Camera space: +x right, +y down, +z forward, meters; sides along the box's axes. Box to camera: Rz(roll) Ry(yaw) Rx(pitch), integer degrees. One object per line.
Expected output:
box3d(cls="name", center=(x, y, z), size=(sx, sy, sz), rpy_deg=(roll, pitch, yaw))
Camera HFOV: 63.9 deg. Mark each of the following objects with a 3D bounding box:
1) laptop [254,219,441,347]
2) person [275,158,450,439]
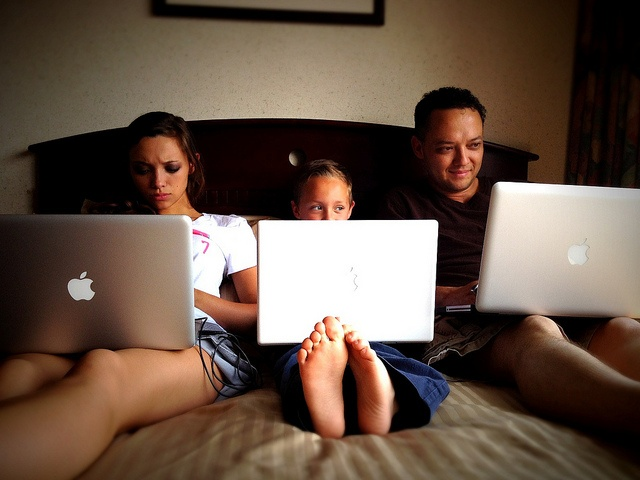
box3d(cls="laptop", center=(0.067, 0.109, 1.473), size=(0.493, 0.363, 0.353), rpy_deg=(0, 0, -4))
box3d(cls="person", center=(0.057, 0.175, 1.720), size=(0.387, 0.875, 0.838), rpy_deg=(-2, 3, -5))
